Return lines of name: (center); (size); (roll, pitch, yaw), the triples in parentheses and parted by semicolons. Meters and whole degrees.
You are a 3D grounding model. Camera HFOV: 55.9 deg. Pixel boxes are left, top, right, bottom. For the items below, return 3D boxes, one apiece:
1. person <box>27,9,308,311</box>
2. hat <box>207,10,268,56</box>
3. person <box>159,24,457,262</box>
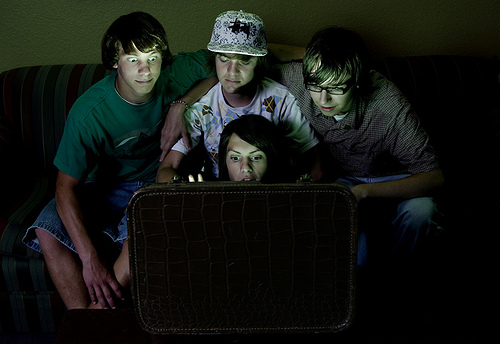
person: (-0.357, -0.238, 2.341); (0.824, 1.082, 1.651); (22, 39, 30)
hat: (-0.044, -0.586, 1.937); (0.270, 0.164, 0.327); (12, 22, 17)
person: (0.304, -0.050, 2.227); (1.223, 1.040, 0.752); (3, 15, 29)
